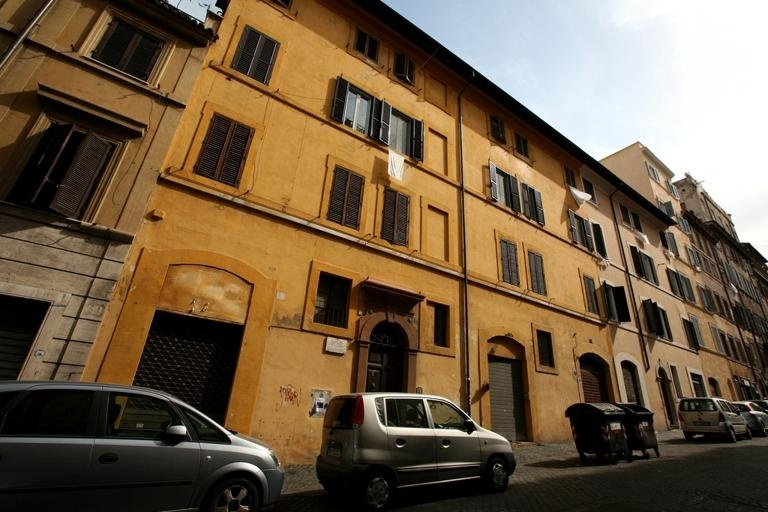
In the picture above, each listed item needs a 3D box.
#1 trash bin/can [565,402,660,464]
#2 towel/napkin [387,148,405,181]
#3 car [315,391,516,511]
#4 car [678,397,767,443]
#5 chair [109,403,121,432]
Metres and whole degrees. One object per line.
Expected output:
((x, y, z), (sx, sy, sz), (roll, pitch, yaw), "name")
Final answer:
((7.551, 5.727, 13.629), (2.751, 1.871, 1.104), (14, -29, -21), "trash bin/can")
((0.440, -3.518, 16.140), (1.213, 1.307, 0.140), (18, -29, -37), "towel/napkin")
((0.605, 4.537, 10.431), (4.453, 2.135, 2.388), (5, -19, -24), "car")
((15.110, 7.268, 18.658), (3.432, 1.638, 1.934), (11, -23, -29), "car")
((-4.998, 2.954, 7.612), (0.156, 0.472, 0.164), (1, -17, -10), "chair")
